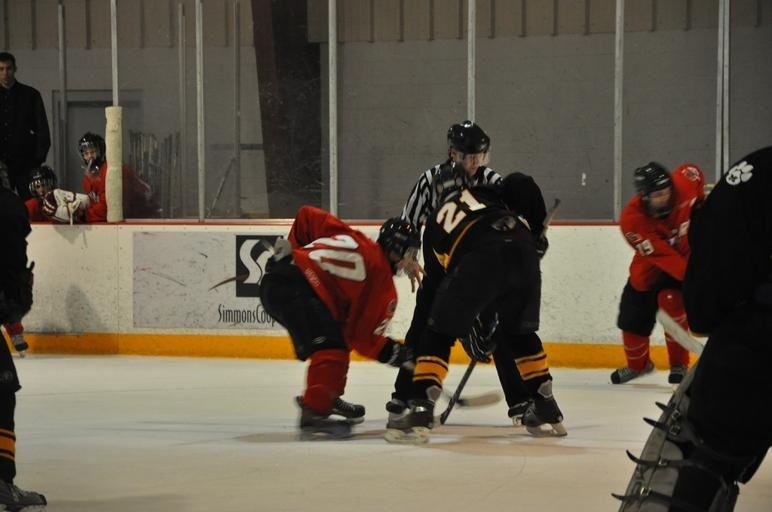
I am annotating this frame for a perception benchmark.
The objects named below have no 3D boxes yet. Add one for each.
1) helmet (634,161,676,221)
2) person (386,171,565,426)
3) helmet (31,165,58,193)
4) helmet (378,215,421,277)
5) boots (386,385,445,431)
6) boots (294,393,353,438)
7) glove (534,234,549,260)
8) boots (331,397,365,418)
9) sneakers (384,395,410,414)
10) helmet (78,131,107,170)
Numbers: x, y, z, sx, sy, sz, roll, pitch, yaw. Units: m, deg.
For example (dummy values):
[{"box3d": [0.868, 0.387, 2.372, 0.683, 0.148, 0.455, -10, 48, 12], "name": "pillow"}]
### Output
[{"box3d": [1.927, -0.502, 8.840, 0.298, 0.397, 0.437, -12, 12, 6], "name": "helmet"}, {"box3d": [0.643, 0.287, 8.209, 1.136, 1.822, 1.216, 9, -22, -20], "name": "person"}, {"box3d": [-2.965, -0.662, 10.752, 0.190, 0.229, 0.232, -1, -19, -14], "name": "helmet"}, {"box3d": [0.082, -0.094, 7.959, 0.351, 0.329, 0.258, -1, 4, -44], "name": "helmet"}, {"box3d": [0.197, 0.951, 7.825, 0.480, 0.320, 0.162, 0, 12, 41], "name": "boots"}, {"box3d": [-0.393, 1.033, 8.021, 0.500, 0.326, 0.165, -3, 10, -23], "name": "boots"}, {"box3d": [1.053, -0.061, 8.233, 0.066, 0.173, 0.126, 11, 1, -16], "name": "glove"}, {"box3d": [-0.245, 1.014, 8.243, 0.287, 0.124, 0.098, 5, 4, 5], "name": "boots"}, {"box3d": [0.070, 0.959, 7.959, 0.141, 0.117, 0.107, -9, -6, -12], "name": "sneakers"}, {"box3d": [-2.526, -0.908, 10.844, 0.252, 0.304, 0.317, -9, -11, -6], "name": "helmet"}]
